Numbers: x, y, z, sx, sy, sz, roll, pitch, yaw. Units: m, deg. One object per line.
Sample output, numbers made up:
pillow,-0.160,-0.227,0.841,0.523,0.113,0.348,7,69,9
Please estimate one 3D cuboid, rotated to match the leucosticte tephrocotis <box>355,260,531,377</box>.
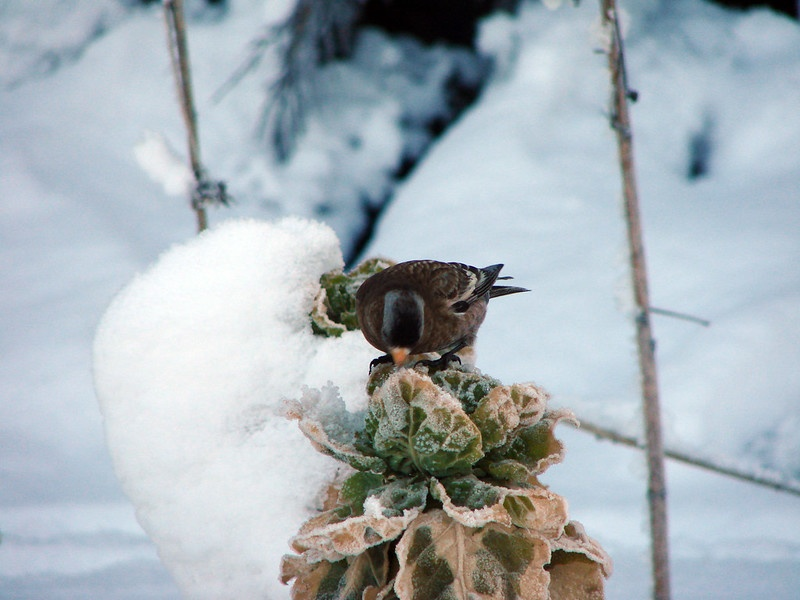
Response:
leucosticte tephrocotis,0.087,0.005,3.530,0.137,0.156,0.386,10,37,30
